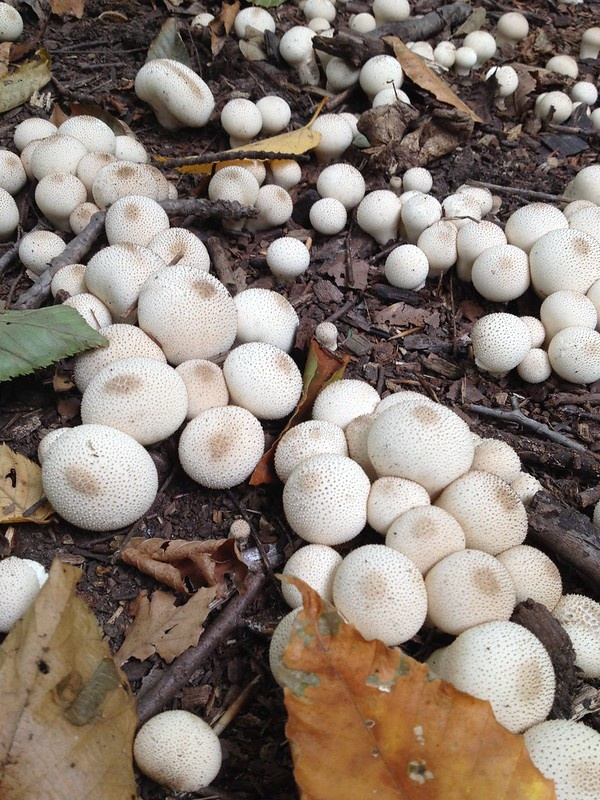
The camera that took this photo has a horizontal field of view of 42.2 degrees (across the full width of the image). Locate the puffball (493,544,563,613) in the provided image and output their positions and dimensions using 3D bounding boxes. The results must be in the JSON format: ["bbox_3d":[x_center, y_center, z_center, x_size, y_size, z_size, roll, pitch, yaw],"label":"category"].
[{"bbox_3d":[0.896,0.694,3.085,0.249,0.143,0.249,42,31,-3],"label":"puffball"}]

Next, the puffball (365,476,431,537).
[{"bbox_3d":[0.371,0.395,3.094,0.237,0.136,0.229,19,63,15],"label":"puffball"}]

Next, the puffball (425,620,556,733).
[{"bbox_3d":[0.676,0.965,2.657,0.426,0.215,0.341,12,43,-3],"label":"puffball"}]

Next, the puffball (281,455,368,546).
[{"bbox_3d":[0.104,0.395,3.091,0.331,0.259,0.299,-5,52,3],"label":"puffball"}]

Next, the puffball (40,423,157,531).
[{"bbox_3d":[-0.851,0.271,3.129,0.433,0.265,0.456,15,41,-15],"label":"puffball"}]

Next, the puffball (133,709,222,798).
[{"bbox_3d":[-0.421,1.203,2.673,0.257,0.191,0.239,32,62,27],"label":"puffball"}]

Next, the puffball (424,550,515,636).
[{"bbox_3d":[0.605,0.699,2.811,0.214,0.227,0.192,33,44,0],"label":"puffball"}]
